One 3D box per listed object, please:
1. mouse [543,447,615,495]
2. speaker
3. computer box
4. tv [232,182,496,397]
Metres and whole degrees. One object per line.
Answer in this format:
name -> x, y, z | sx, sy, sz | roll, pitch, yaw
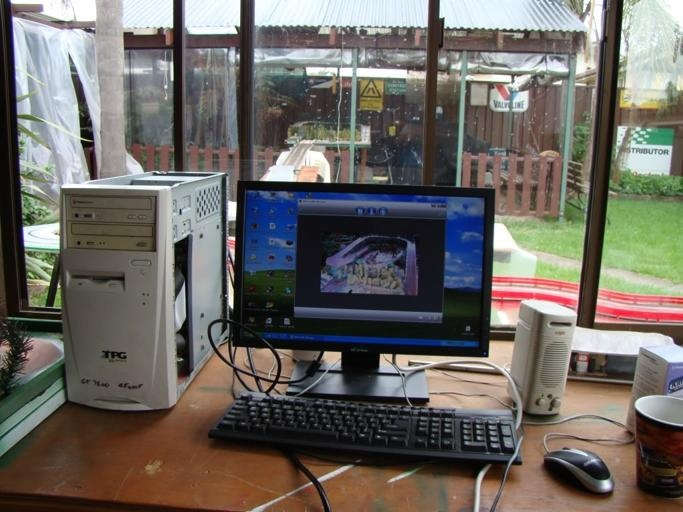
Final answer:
mouse -> 0.579, 0.490, 1.412 | 0.075, 0.048, 0.126 | 2, 11, -26
speaker -> 0.560, 0.283, 1.650 | 0.151, 0.304, 0.103 | 1, 11, 5
computer box -> -0.566, 0.074, 1.755 | 0.315, 0.609, 0.466 | 2, 12, 12
tv -> 0.060, 0.081, 1.707 | 0.525, 0.453, 0.180 | 3, 5, 5
